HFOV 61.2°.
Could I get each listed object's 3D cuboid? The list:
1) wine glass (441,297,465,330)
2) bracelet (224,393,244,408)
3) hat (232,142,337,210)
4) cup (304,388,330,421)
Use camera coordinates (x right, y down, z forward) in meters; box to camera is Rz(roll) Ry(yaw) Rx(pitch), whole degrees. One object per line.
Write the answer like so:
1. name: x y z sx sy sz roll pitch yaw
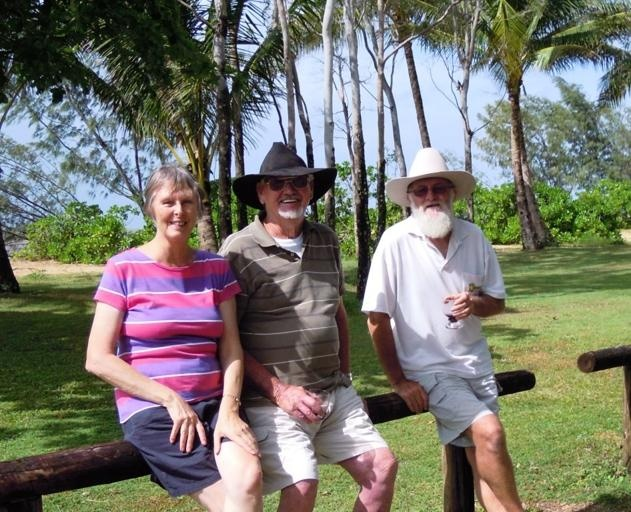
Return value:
1. wine glass: 0.831 0.352 3.259 0.092 0.177 0.128 -5 1 31
2. bracelet: -0.408 0.696 2.654 0.078 0.036 0.088 31 13 -38
3. hat: -0.198 -0.529 3.368 0.615 0.329 0.739 -6 -9 4
4. cup: 0.010 0.795 2.895 0.110 0.183 0.261 -6 0 13
